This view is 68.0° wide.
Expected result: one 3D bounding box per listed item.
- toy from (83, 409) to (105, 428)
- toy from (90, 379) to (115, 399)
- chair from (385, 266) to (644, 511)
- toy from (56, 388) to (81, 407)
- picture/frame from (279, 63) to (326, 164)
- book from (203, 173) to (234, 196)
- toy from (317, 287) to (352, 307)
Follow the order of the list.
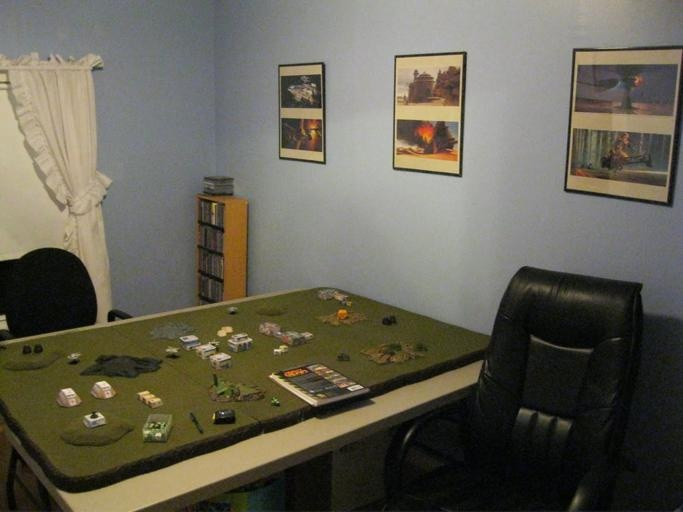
[{"bbox_3d":[-1.032,0.670,2.116,0.060,0.039,0.061,-9,16,-42],"label":"toy"},{"bbox_3d":[-1.115,0.616,2.366,0.068,0.033,0.093,-5,14,-37],"label":"toy"},{"bbox_3d":[0.878,0.505,2.735,1.184,1.465,0.995,-2,12,-39],"label":"chair"},{"bbox_3d":[-1.237,0.629,2.290,0.066,0.030,0.089,-6,14,-39],"label":"toy"},{"bbox_3d":[-0.344,-1.239,4.402,0.019,0.827,0.626,-14,22,-43],"label":"picture/frame"},{"bbox_3d":[-1.235,-0.729,5.133,0.231,0.143,0.228,-7,12,-43],"label":"book"},{"bbox_3d":[-0.044,0.295,3.841,0.121,0.051,0.208,-7,17,-37],"label":"toy"}]
